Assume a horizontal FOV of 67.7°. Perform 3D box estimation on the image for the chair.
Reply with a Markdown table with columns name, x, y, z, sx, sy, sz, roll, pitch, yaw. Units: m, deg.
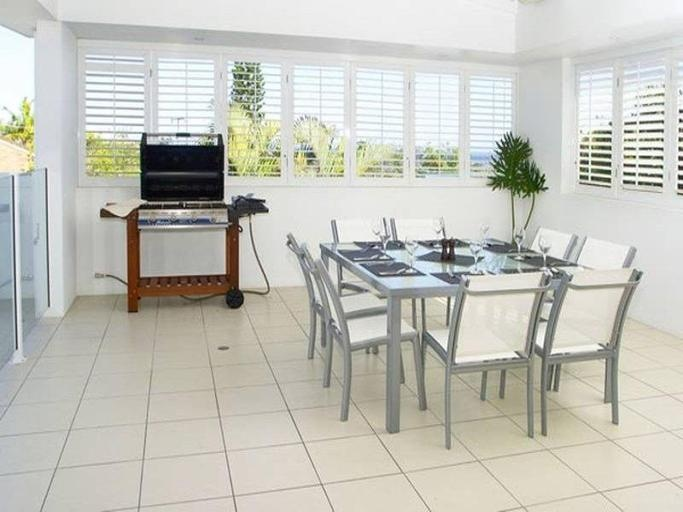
| name | x | y | z | sx | sy | sz | roll | pitch | yaw |
| --- | --- | --- | --- | --- | --- | --- | --- | --- | --- |
| chair | 0.868 | 0.486 | 3.181 | 1.628 | 0.994 | 1.138 | 7 | 14 | 28 |
